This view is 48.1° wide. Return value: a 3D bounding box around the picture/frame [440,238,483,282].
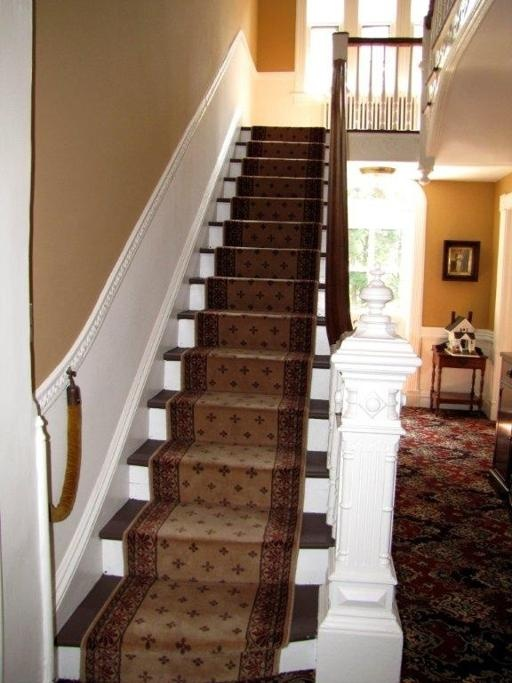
[{"bbox_3d":[2.181,-0.869,6.078,0.440,0.553,0.057,2,5,8],"label":"picture/frame"}]
